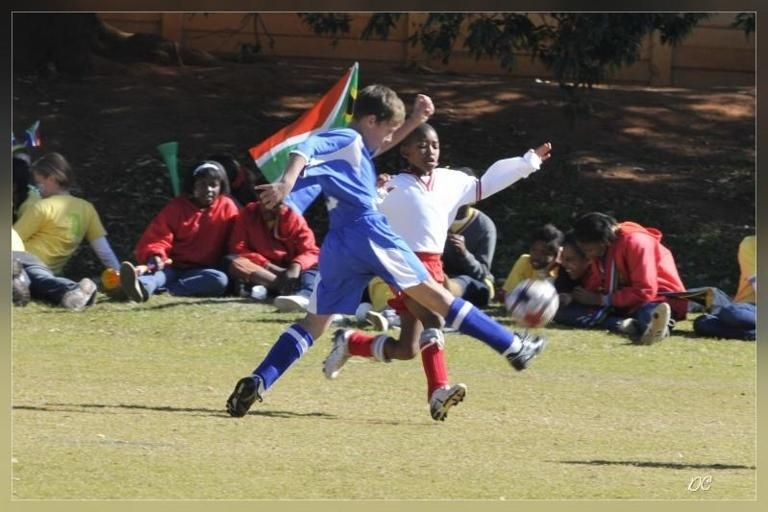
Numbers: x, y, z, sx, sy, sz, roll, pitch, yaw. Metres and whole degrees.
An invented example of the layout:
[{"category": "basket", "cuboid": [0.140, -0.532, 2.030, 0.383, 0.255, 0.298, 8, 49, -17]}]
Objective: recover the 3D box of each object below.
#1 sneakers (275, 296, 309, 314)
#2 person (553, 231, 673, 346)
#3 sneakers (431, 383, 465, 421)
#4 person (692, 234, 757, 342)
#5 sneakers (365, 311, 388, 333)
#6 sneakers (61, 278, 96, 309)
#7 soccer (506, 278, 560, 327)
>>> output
[{"category": "sneakers", "cuboid": [-0.824, 0.441, 14.056, 0.361, 0.152, 0.122, 6, 29, 10]}, {"category": "person", "cuboid": [2.423, 0.307, 13.901, 1.169, 0.849, 1.346, 10, -1, -24]}, {"category": "sneakers", "cuboid": [0.492, 1.132, 11.849, 0.260, 0.301, 0.122, 5, 6, 0]}, {"category": "person", "cuboid": [3.280, 0.347, 14.618, 0.623, 0.874, 0.632, 12, -33, 22]}, {"category": "sneakers", "cuboid": [-0.037, 0.588, 13.676, 0.231, 0.051, 0.154, 23, -28, 12]}, {"category": "sneakers", "cuboid": [-2.775, 0.357, 14.044, 0.346, 0.181, 0.146, -39, 6, -25]}, {"category": "soccer", "cuboid": [1.177, 0.377, 11.987, 0.508, 0.332, 0.336, 0, -6, 1]}]
